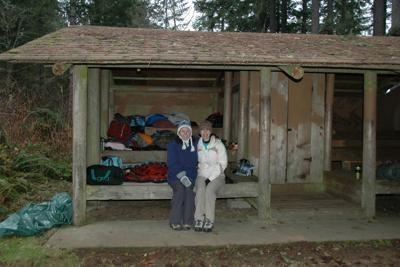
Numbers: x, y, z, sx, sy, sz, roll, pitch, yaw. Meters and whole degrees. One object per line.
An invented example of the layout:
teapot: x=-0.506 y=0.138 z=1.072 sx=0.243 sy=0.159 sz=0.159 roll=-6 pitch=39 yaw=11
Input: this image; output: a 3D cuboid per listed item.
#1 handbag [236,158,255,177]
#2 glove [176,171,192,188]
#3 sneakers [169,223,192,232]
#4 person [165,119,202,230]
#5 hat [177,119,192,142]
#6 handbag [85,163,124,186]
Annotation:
handbag: x=1.315 y=0.966 z=13.082 sx=0.355 sy=0.492 sz=0.556 roll=-3 pitch=7 yaw=-29
glove: x=-0.400 y=1.162 z=11.456 sx=0.355 sy=0.378 sz=0.112 roll=-31 pitch=-3 yaw=-25
sneakers: x=-0.468 y=2.353 z=11.349 sx=0.471 sy=0.207 sz=0.191 roll=7 pitch=-1 yaw=-9
person: x=-0.441 y=1.041 z=11.536 sx=0.786 sy=2.721 sz=0.541 roll=0 pitch=2 yaw=-5
hat: x=-0.392 y=-0.088 z=11.644 sx=0.347 sy=0.396 sz=0.487 roll=2 pitch=10 yaw=0
handbag: x=-2.535 y=1.084 z=12.104 sx=1.037 sy=0.527 sz=0.751 roll=0 pitch=5 yaw=0
